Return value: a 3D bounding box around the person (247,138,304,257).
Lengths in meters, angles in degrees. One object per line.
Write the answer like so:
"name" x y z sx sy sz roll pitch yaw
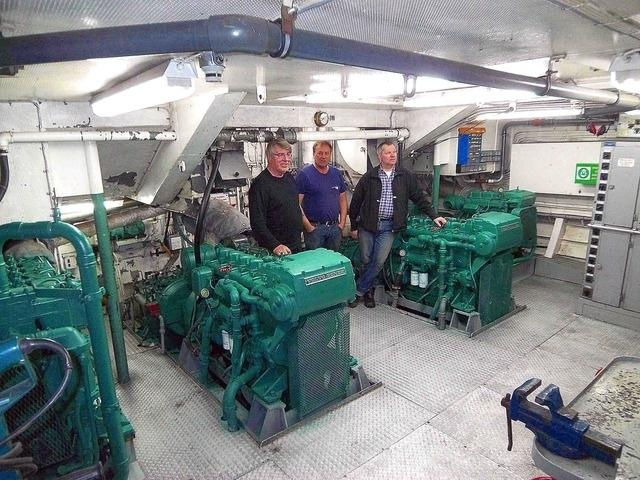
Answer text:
"person" -0.529 -0.424 4.425 0.519 1.332 0.824 0 14 8

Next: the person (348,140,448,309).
"person" 0.959 -0.186 5.570 1.058 2.295 0.454 -1 14 3

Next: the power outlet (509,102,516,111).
"power outlet" 2.729 -1.863 5.587 0.081 0.125 0.041 4 6 34

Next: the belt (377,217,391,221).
"belt" 0.904 -0.273 5.411 0.180 0.061 0.017 -2 14 0
